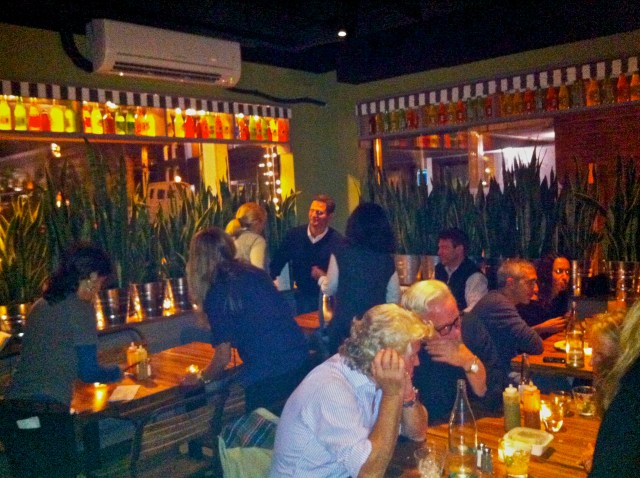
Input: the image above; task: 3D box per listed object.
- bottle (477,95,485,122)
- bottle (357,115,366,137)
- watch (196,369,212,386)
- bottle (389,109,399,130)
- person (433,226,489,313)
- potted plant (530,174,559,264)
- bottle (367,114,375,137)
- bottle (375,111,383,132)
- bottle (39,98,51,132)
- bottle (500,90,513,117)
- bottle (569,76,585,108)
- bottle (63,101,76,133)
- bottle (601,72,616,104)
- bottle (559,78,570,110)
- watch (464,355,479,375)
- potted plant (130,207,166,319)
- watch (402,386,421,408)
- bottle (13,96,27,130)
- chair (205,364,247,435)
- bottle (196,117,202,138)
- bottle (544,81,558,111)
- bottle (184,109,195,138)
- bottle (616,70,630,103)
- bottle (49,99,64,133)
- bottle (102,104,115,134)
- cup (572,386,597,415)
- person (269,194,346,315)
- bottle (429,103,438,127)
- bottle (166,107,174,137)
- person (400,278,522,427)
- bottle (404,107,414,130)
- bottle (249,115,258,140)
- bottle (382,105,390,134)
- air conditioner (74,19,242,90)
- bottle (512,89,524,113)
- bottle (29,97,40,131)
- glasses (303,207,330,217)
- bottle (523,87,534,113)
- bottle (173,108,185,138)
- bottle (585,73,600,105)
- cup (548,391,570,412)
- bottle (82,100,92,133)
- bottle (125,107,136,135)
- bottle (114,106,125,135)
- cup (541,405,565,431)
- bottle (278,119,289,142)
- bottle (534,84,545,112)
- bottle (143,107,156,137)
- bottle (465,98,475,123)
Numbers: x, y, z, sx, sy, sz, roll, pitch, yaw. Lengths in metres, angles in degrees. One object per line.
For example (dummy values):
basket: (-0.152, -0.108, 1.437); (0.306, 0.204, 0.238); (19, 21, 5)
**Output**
bottle: (1.664, -1.340, 5.643); (0.082, 0.235, 0.056); (-1, 5, 15)
bottle: (0.512, -1.361, 6.645); (0.135, 0.250, 0.029); (2, 6, 36)
watch: (-0.660, 0.803, 3.129); (0.061, 0.063, 0.063); (-1, 0, 9)
bottle: (0.866, -1.367, 6.345); (0.029, 0.218, 0.138); (-5, 6, -33)
person: (1.196, 0.260, 4.568); (0.451, 0.833, 0.703); (3, -3, -7)
potted plant: (2.063, -0.211, 5.051); (0.273, 0.789, 0.144); (2, 6, 36)
bottle: (0.636, -1.362, 6.557); (0.030, 0.240, 0.100); (-6, 7, -41)
bottle: (0.703, -1.379, 6.508); (0.139, 0.198, 0.059); (6, 8, 40)
bottle: (-2.347, -1.049, 4.690); (0.069, 0.280, 0.105); (-1, 5, 6)
bottle: (1.877, -1.351, 5.497); (0.145, 0.229, 0.044); (2, 6, 37)
bottle: (2.397, -1.347, 5.107); (0.124, 0.250, 0.048); (1, 6, 28)
bottle: (-2.192, -1.072, 4.807); (0.034, 0.260, 0.094); (2, 7, 40)
bottle: (2.614, -1.338, 4.960); (0.130, 0.248, 0.055); (0, 6, 26)
bottle: (2.304, -1.335, 5.174); (0.098, 0.245, 0.057); (1, 6, 32)
watch: (0.791, 0.664, 2.825); (0.046, 0.062, 0.081); (8, -7, -42)
potted plant: (-1.478, 0.190, 4.724); (0.295, 0.948, 0.263); (-6, 6, -38)
watch: (0.435, 0.741, 2.572); (0.024, 0.086, 0.084); (35, 53, 6)
bottle: (-2.476, -1.033, 4.530); (0.024, 0.264, 0.120); (1, 5, 27)
chair: (-0.532, 0.929, 3.249); (0.252, 0.356, 0.358); (-6, -5, 27)
bottle: (-1.268, -1.164, 5.767); (0.024, 0.199, 0.068); (3, 7, 43)
bottle: (2.226, -1.341, 5.230); (0.110, 0.225, 0.050); (0, 5, 23)
bottle: (-1.337, -1.164, 5.686); (0.045, 0.255, 0.146); (1, 6, 32)
bottle: (2.702, -1.336, 4.882); (0.036, 0.252, 0.117); (-6, 7, -41)
bottle: (-2.274, -1.061, 4.742); (0.113, 0.250, 0.047); (-4, 6, -26)
bottle: (-1.950, -1.098, 5.062); (0.036, 0.242, 0.124); (2, 6, 37)
cup: (1.346, 0.839, 2.779); (0.127, 0.131, 0.190); (-1, -20, 27)
person: (-0.101, 0.408, 5.427); (0.639, 1.625, 0.549); (8, 27, 9)
bottle: (1.251, -1.356, 5.992); (0.108, 0.210, 0.048); (0, 6, 26)
bottle: (-1.506, -1.165, 5.521); (0.089, 0.279, 0.041); (-5, 6, -34)
person: (0.723, 0.678, 2.940); (0.476, 0.857, 0.497); (-18, 6, -8)
bottle: (1.028, -1.352, 6.190); (0.033, 0.222, 0.131); (-5, 6, -32)
bottle: (-0.747, -1.272, 6.280); (0.041, 0.256, 0.139); (2, 6, 35)
bottle: (0.783, -1.373, 6.434); (0.020, 0.247, 0.103); (-6, 6, -39)
air conditioner: (-1.368, -1.646, 4.920); (1.287, 0.438, 0.388); (-7, 25, -42)
bottle: (1.985, -1.351, 5.403); (0.088, 0.201, 0.027); (1, 6, 32)
bottle: (-2.398, -1.046, 4.614); (0.054, 0.274, 0.120); (2, 6, 40)
glasses: (0.023, -0.242, 4.978); (0.107, 0.094, 0.125); (-1, -7, 28)
bottle: (2.050, -1.347, 5.358); (0.100, 0.209, 0.031); (1, 6, 26)
bottle: (-1.425, -1.170, 5.587); (0.048, 0.280, 0.121); (2, 6, 38)
bottle: (2.503, -1.350, 5.031); (0.112, 0.243, 0.053); (0, 5, 21)
cup: (1.184, 0.807, 2.713); (0.086, 0.071, 0.094); (-1, -2, 0)
bottle: (-2.085, -1.091, 4.915); (0.039, 0.271, 0.108); (1, 6, 30)
bottle: (-1.802, -1.119, 5.218); (0.041, 0.245, 0.112); (0, 5, 20)
bottle: (-1.876, -1.109, 5.142); (0.037, 0.239, 0.104); (1, 6, 33)
cup: (1.102, 0.841, 2.589); (0.095, 0.089, 0.113); (0, 1, 27)
bottle: (-0.430, -1.292, 6.557); (0.157, 0.279, 0.048); (-6, 6, -40)
bottle: (2.131, -1.350, 5.292); (0.089, 0.212, 0.036); (0, 5, 21)
bottle: (-1.667, -1.148, 5.369); (0.032, 0.255, 0.124); (2, 7, 41)
bottle: (1.567, -1.337, 5.704); (0.153, 0.235, 0.058); (2, 6, 36)
